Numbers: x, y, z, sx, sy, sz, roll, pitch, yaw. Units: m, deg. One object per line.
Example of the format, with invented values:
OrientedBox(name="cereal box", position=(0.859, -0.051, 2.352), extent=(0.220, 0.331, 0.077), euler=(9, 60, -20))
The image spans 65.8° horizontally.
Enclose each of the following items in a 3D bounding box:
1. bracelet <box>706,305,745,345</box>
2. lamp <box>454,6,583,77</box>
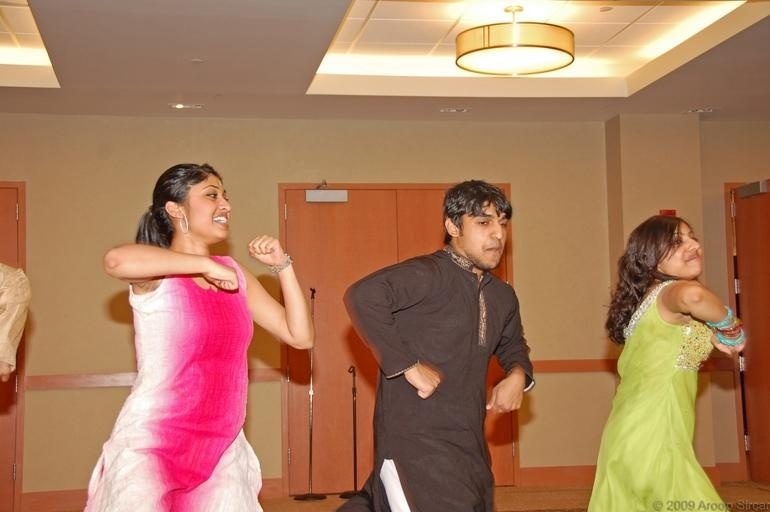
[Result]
OrientedBox(name="bracelet", position=(2.222, 0.461, 3.886), extent=(0.296, 0.253, 0.156), euler=(1, -4, -31))
OrientedBox(name="lamp", position=(1.156, -1.800, 5.375), extent=(0.652, 0.289, 0.645), euler=(3, -16, -7))
